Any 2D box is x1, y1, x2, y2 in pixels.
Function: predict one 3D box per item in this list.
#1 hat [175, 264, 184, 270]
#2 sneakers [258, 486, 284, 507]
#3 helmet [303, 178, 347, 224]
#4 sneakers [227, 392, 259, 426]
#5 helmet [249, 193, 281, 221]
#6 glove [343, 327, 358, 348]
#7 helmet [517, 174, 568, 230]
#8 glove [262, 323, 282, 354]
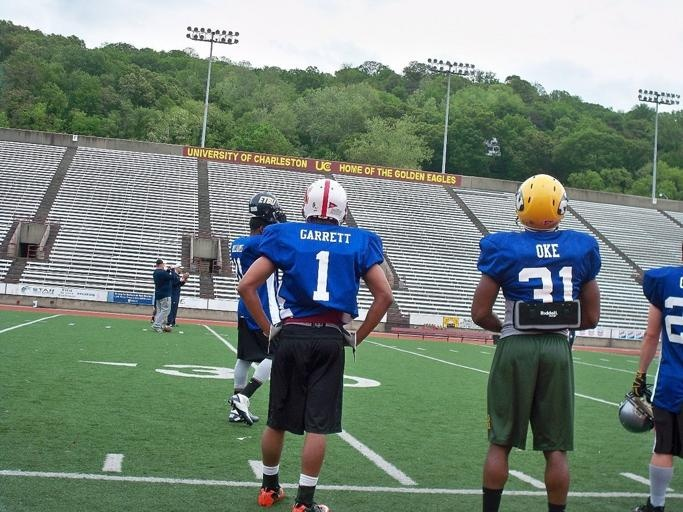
[{"bbox_3d":[-4.388,0.286,20.922,0.279,0.146,0.414,5,-3,-25],"label":"hat"},{"bbox_3d":[-0.581,1.994,6.424,0.097,0.102,0.253,0,-2,23],"label":"sneakers"},{"bbox_3d":[-0.143,-0.471,6.555,0.313,0.315,0.398,6,12,1],"label":"helmet"},{"bbox_3d":[-1.096,1.625,8.177,0.178,0.257,0.511,-16,-42,23],"label":"sneakers"},{"bbox_3d":[-0.822,-0.519,8.215,0.361,0.292,0.251,-2,6,-16],"label":"helmet"},{"bbox_3d":[0.081,0.671,6.374,0.132,0.163,0.073,6,28,36],"label":"glove"},{"bbox_3d":[1.605,-0.459,6.237,0.400,0.381,0.464,1,-39,8],"label":"helmet"},{"bbox_3d":[-0.586,0.674,6.361,0.130,0.238,0.148,7,-7,16],"label":"glove"}]
